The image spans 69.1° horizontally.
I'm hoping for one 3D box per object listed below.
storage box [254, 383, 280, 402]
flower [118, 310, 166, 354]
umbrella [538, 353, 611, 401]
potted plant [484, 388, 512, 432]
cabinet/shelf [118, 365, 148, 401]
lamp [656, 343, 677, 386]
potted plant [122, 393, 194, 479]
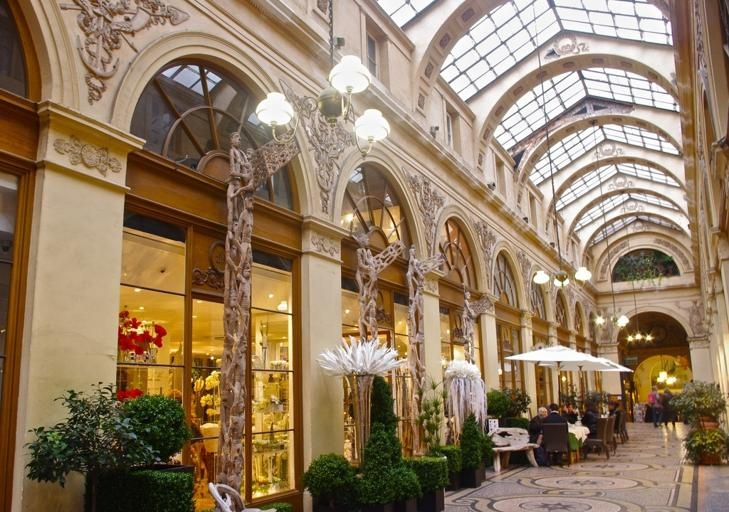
[{"bbox_3d":[-1.701,2.327,9.025,0.160,0.297,0.310,-14,-21,30],"label":"storage box"},{"bbox_3d":[-3.125,1.053,7.314,0.503,0.551,0.523,-2,-10,34],"label":"flower"},{"bbox_3d":[6.319,3.387,16.142,1.659,0.736,1.758,-1,-9,15],"label":"umbrella"},{"bbox_3d":[3.820,4.347,14.983,0.827,1.253,0.989,-2,-12,22],"label":"potted plant"},{"bbox_3d":[-3.094,1.667,6.977,0.186,0.356,0.358,-5,-15,21],"label":"cabinet/shelf"},{"bbox_3d":[23.612,8.932,41.271,1.569,2.171,1.242,-10,-21,24],"label":"lamp"},{"bbox_3d":[-2.412,2.091,6.215,0.738,0.854,0.730,10,-14,-33],"label":"potted plant"}]
